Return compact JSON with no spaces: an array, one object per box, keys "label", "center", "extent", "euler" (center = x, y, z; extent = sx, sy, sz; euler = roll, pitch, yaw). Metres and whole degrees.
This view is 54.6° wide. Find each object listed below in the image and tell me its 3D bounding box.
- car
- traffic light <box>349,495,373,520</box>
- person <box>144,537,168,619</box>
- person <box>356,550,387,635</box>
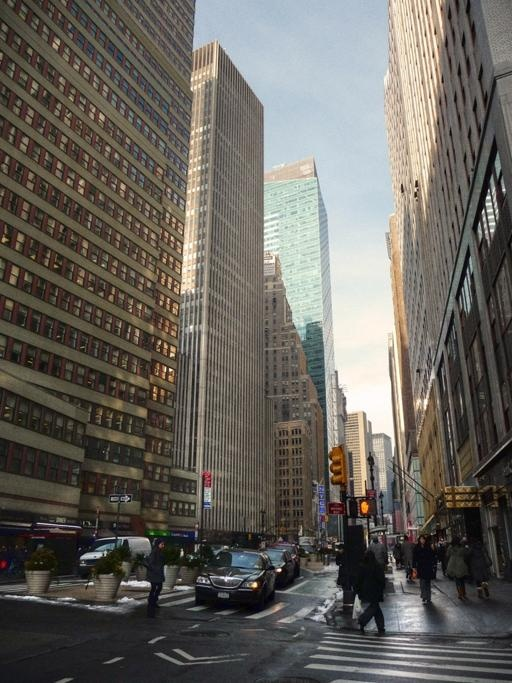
[{"label":"car","center":[-0.472,6.753,13.931],"extent":[1.735,1.526,2.557],"euler":[-8,-21,19]},{"label":"traffic light","center":[2.875,4.490,13.455],"extent":[0.663,0.550,0.864],"euler":[0,-20,-2]},{"label":"person","center":[-2.366,5.555,11.605],"extent":[0.382,1.464,1.096],"euler":[3,-20,-12]},{"label":"person","center":[2.235,4.894,9.667],"extent":[0.536,1.508,0.909],"euler":[-4,-20,10]}]
